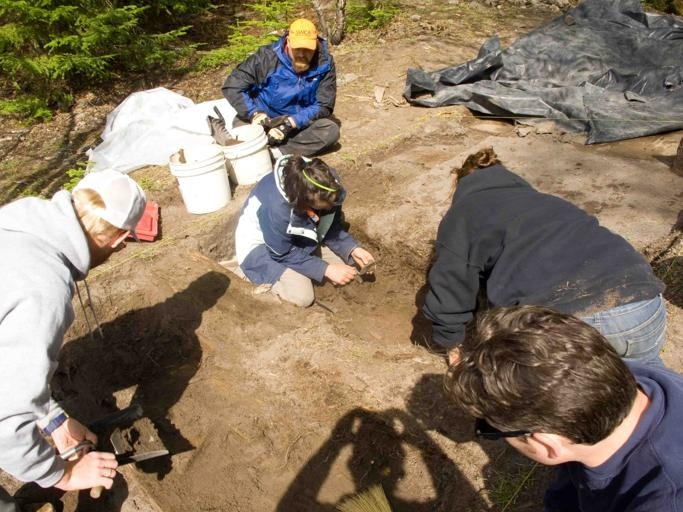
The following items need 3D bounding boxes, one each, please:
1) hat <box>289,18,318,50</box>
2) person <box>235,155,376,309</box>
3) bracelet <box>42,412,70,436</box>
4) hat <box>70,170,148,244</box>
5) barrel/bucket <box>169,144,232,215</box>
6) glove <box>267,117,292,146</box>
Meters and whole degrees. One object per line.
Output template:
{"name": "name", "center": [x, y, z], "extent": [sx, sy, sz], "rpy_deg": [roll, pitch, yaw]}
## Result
{"name": "hat", "center": [-0.404, -2.290, 6.213], "extent": [0.297, 0.159, 0.334], "rpy_deg": [1, 49, -10]}
{"name": "person", "center": [-0.449, -0.204, 5.148], "extent": [1.082, 1.403, 0.821], "rpy_deg": [-12, 51, 0]}
{"name": "bracelet", "center": [-1.861, 1.083, 3.887], "extent": [0.162, 0.060, 0.117], "rpy_deg": [-32, 14, -28]}
{"name": "hat", "center": [-1.443, -0.305, 3.825], "extent": [0.267, 0.508, 0.335], "rpy_deg": [-46, 52, 16]}
{"name": "barrel/bucket", "center": [-1.408, -0.754, 5.984], "extent": [0.588, 0.478, 0.514], "rpy_deg": [-23, 54, -8]}
{"name": "glove", "center": [-0.687, -1.377, 6.607], "extent": [0.265, 0.161, 0.339], "rpy_deg": [10, 54, -6]}
